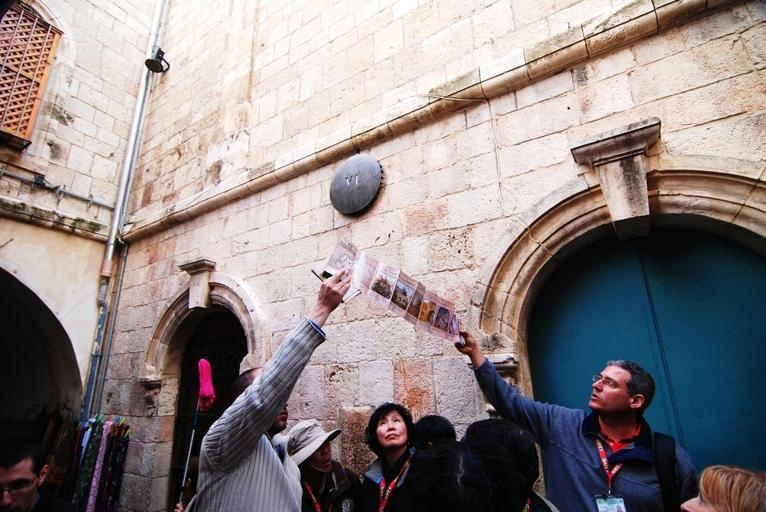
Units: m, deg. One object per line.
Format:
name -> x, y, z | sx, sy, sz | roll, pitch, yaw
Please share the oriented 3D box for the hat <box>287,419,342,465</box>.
hat -> -0.480, 1.248, 3.022 | 0.274, 0.132, 0.234 | -36, 5, 24
